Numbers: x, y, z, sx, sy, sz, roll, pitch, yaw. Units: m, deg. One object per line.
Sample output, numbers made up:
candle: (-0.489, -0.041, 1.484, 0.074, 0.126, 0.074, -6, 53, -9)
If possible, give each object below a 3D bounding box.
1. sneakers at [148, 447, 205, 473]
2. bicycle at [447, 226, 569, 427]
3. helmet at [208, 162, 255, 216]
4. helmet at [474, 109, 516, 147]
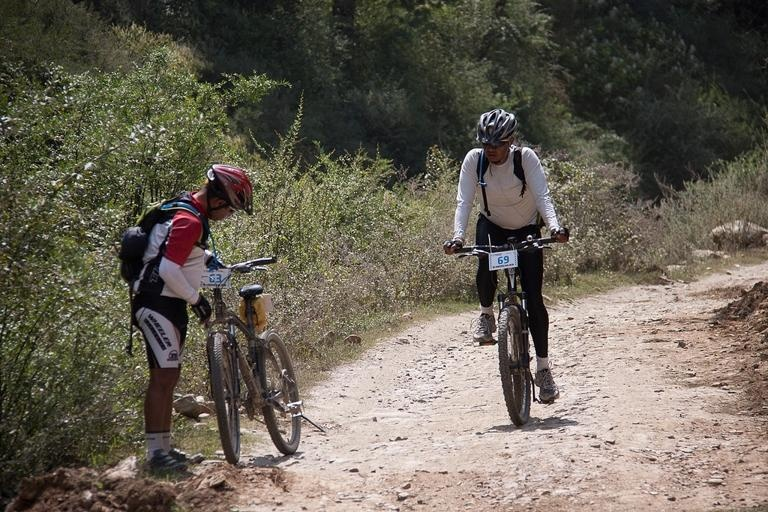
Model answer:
sneakers: (-2.226, 2.157, 8.885, 0.522, 0.284, 0.209, -3, 1, -5)
bicycle: (1.556, 0.904, 9.922, 0.952, 2.259, 0.925, -5, 8, 14)
helmet: (-1.635, -0.797, 9.012, 0.359, 0.572, 0.409, -38, 20, 3)
helmet: (1.333, -1.526, 9.804, 0.447, 0.402, 0.326, -7, 8, 9)
